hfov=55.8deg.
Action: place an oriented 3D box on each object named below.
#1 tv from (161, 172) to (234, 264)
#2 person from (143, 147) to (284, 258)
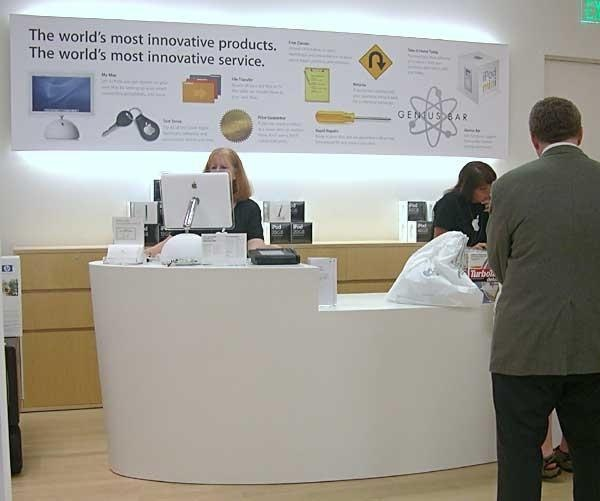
[{"bbox_3d":[-0.633,-0.257,3.356,0.431,0.395,0.260,1,8,4],"label":"tv"},{"bbox_3d":[-0.610,-0.227,4.335,0.814,0.959,0.741,-1,-3,-6],"label":"person"}]
